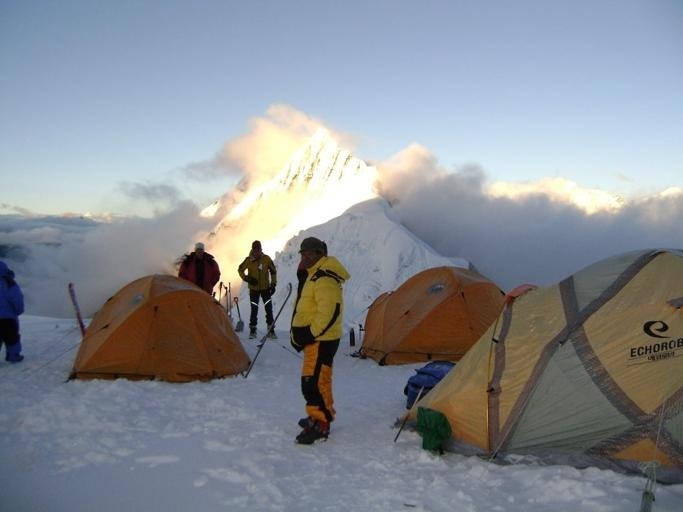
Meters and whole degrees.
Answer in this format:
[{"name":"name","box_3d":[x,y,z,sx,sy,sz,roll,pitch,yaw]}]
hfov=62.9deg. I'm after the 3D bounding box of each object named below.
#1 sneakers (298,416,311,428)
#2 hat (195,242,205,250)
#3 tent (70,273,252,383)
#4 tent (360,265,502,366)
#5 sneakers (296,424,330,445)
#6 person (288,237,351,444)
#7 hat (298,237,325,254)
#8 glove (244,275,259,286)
[{"name":"sneakers","box_3d":[-0.577,2.648,8.909,0.206,0.223,0.159,13,-2,0]},{"name":"hat","box_3d":[-3.552,-0.236,13.946,0.199,0.193,0.250,-2,-5,-1]},{"name":"tent","box_3d":[-4.038,1.301,11.655,2.293,1.159,2.616,3,-5,-43]},{"name":"tent","box_3d":[1.994,1.389,13.581,2.867,1.290,2.275,0,7,41]},{"name":"sneakers","box_3d":[-0.426,2.763,8.626,0.470,0.208,0.248,5,24,-33]},{"name":"person","box_3d":[-0.370,1.293,8.944,0.856,3.146,1.121,2,6,-5]},{"name":"hat","box_3d":[-0.449,-0.149,8.951,0.325,0.218,0.254,8,-6,-17]},{"name":"glove","box_3d":[-2.358,0.649,14.642,0.270,0.079,0.285,25,-12,-27]}]
